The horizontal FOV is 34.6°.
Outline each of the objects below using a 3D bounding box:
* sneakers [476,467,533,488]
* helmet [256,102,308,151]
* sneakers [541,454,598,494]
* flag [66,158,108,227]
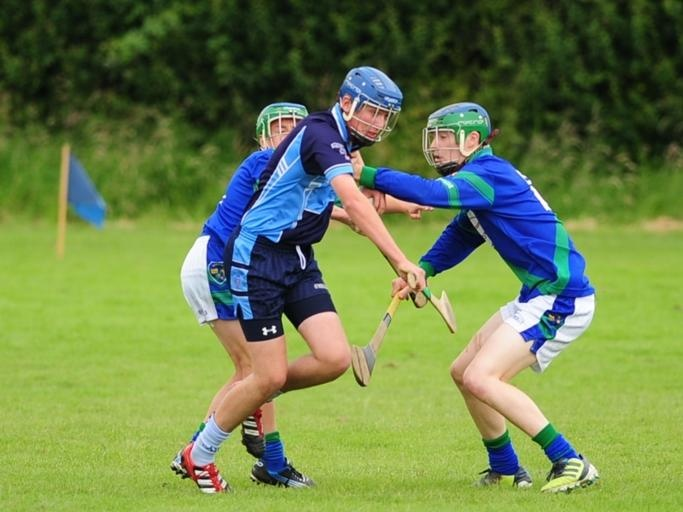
[{"bbox_3d":[1.422,1.939,9.700,0.490,0.222,0.180,3,-5,5],"label":"sneakers"},{"bbox_3d":[-0.558,-1.179,10.074,0.357,0.427,0.460,8,-31,-23],"label":"helmet"},{"bbox_3d":[1.958,1.861,9.544,0.545,0.261,0.229,-19,-6,-13],"label":"sneakers"},{"bbox_3d":[-2.446,-0.629,10.559,0.345,0.690,0.332,-2,10,-14],"label":"flag"}]
